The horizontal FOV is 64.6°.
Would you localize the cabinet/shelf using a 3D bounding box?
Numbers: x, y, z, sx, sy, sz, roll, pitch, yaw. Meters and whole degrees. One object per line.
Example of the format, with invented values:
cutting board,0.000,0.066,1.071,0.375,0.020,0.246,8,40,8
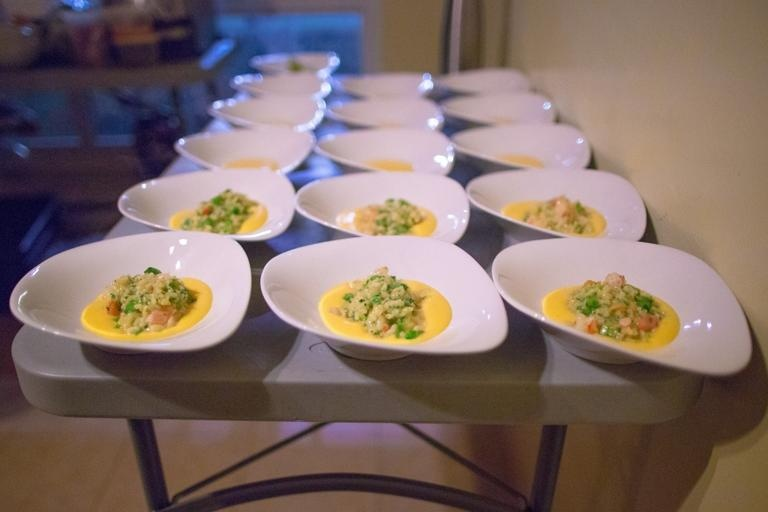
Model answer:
cabinet/shelf,-0.061,0.081,1.498,1.302,0.848,0.697,0,44,0
